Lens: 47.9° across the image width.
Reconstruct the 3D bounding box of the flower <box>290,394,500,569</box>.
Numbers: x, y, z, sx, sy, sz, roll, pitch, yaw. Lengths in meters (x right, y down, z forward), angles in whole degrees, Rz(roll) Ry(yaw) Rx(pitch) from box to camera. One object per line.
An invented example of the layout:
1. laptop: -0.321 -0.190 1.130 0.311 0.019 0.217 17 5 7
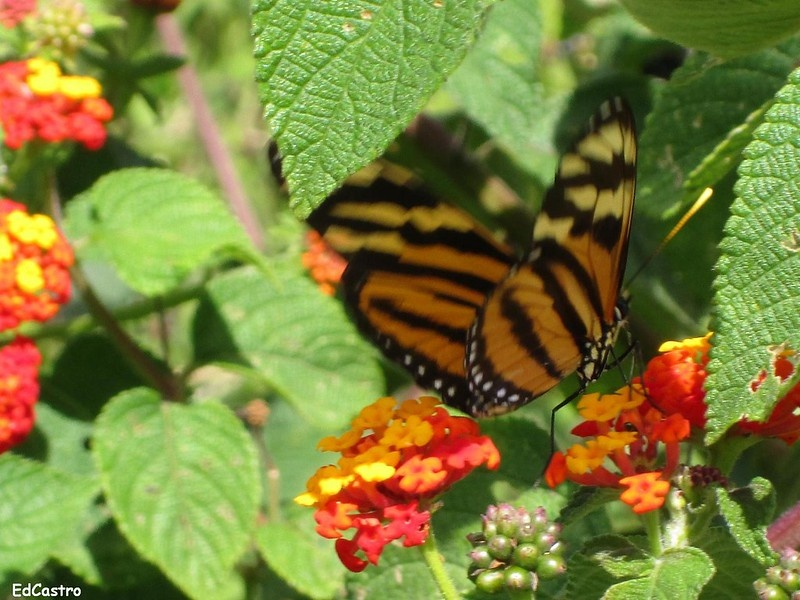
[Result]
1. flower: 0.025 0.422 2.005 0.405 0.251 0.397 -25 34 24
